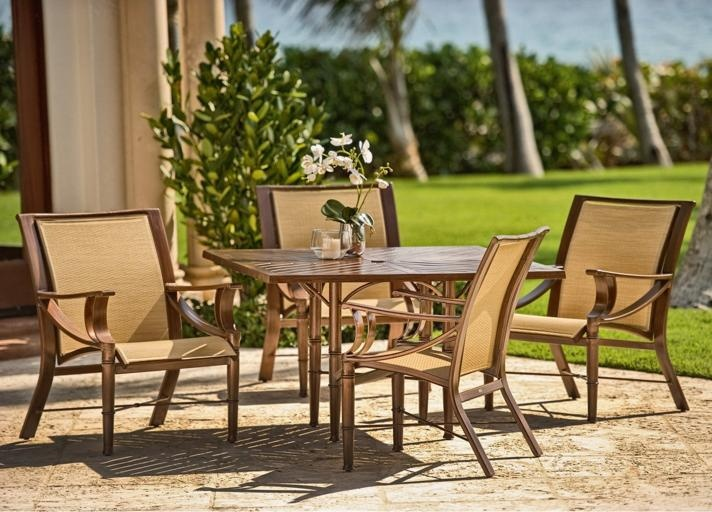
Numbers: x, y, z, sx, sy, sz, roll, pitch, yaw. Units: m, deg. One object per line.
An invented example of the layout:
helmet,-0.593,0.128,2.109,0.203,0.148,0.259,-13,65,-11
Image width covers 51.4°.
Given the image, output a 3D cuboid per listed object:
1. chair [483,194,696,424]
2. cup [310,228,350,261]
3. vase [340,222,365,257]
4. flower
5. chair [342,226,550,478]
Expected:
chair,1.395,0.315,4.725,1.189,1.236,1.144,-1,3,-22
cup,-0.149,-0.062,4.201,0.209,0.126,0.188,0,-1,2
vase,-0.026,-0.102,4.233,0.160,0.203,0.149,-1,0,-32
flower,-0.037,-0.348,4.230,0.533,0.547,0.318,2,5,41
chair,0.411,0.495,3.749,0.963,1.085,0.825,-5,-5,39
